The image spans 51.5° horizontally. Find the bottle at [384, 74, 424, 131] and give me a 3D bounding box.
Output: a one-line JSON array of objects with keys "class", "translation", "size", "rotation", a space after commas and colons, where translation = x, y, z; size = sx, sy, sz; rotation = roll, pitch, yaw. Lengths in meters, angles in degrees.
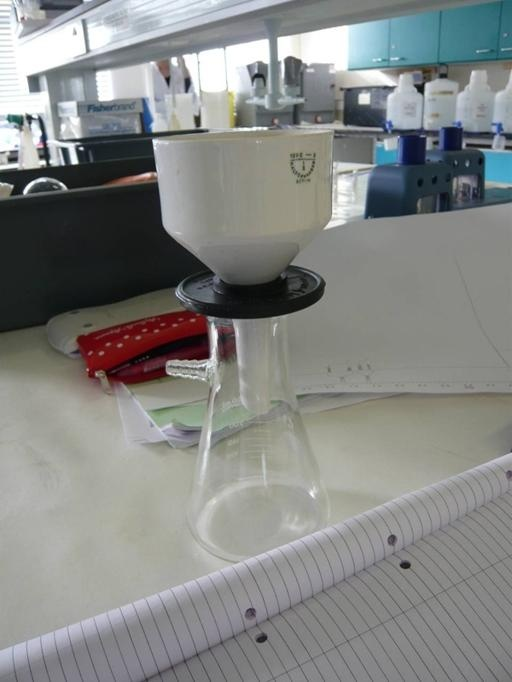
[{"class": "bottle", "translation": [0.991, -1.574, 3.525], "size": [0.233, 0.348, 0.514], "rotation": [5, 24, 14]}]

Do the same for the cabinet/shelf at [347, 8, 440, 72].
[{"class": "cabinet/shelf", "translation": [1.431, -2.881, 5.161], "size": [0.409, 0.410, 1.183], "rotation": [-21, 31, -28]}]

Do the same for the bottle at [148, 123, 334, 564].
[{"class": "bottle", "translation": [-0.008, -0.004, 0.368], "size": [0.111, 0.262, 0.176], "rotation": [-7, 24, -10]}]

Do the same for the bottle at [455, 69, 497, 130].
[{"class": "bottle", "translation": [1.409, -1.525, 3.398], "size": [0.236, 0.365, 0.295], "rotation": [6, 25, 18]}]
